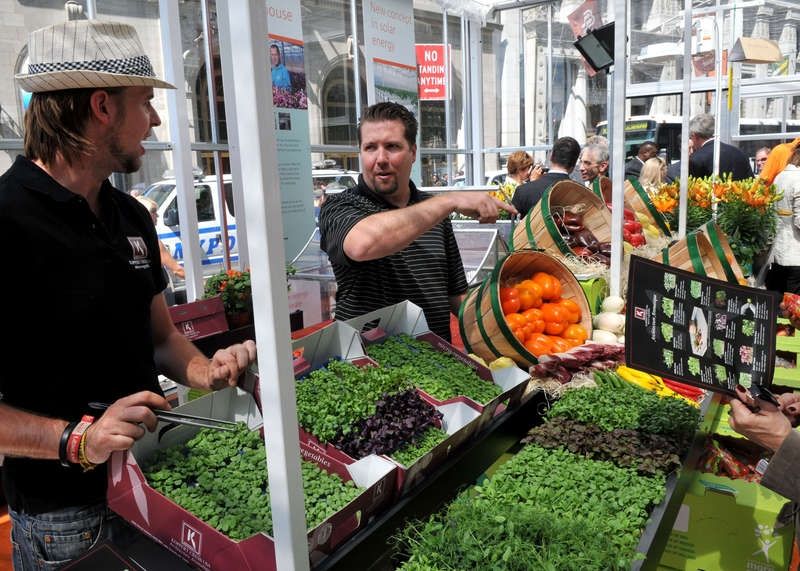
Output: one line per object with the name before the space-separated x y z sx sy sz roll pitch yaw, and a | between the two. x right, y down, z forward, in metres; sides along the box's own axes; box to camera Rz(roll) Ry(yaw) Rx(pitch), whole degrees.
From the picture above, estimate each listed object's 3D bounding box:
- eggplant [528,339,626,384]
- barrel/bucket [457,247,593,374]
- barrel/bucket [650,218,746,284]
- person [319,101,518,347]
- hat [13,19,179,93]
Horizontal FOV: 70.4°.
eggplant | 0.829 0.347 2.712 0.316 0.181 0.357 -9 15 -36
barrel/bucket | 0.648 0.122 2.867 0.693 0.589 0.577 -3 18 -37
barrel/bucket | 1.871 -0.224 3.573 0.269 0.358 0.329 -28 39 17
person | 0.020 -0.221 2.709 0.785 1.352 0.732 2 16 -15
hat | -0.937 -0.689 1.705 0.359 0.211 0.157 -8 15 -30
